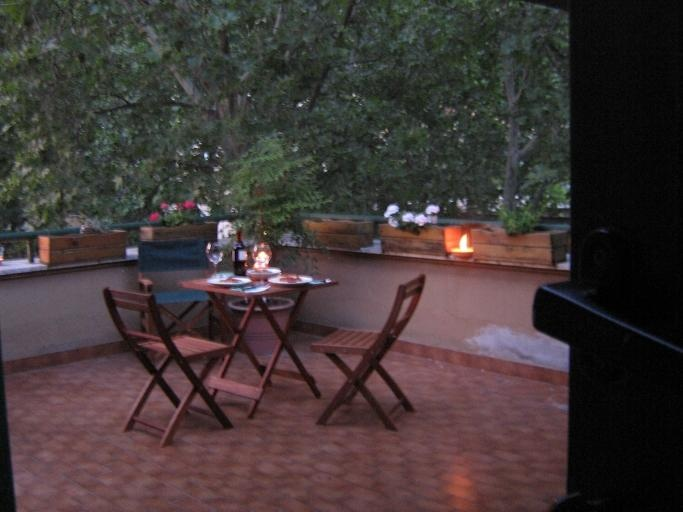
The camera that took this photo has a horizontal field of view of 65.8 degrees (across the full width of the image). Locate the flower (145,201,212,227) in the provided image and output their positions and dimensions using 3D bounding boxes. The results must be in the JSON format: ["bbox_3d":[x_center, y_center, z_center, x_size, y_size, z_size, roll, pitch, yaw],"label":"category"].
[{"bbox_3d":[-1.788,-0.448,5.708,0.616,0.268,0.429,-7,-2,43],"label":"flower"}]

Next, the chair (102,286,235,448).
[{"bbox_3d":[-1.043,0.639,3.215,0.709,0.880,0.555,2,1,-41],"label":"chair"}]

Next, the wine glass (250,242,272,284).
[{"bbox_3d":[-0.532,0.048,3.975,0.275,0.296,0.267,2,1,-7],"label":"wine glass"}]

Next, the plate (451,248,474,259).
[{"bbox_3d":[1.003,-0.013,4.454,0.191,0.077,0.113,2,7,19],"label":"plate"}]

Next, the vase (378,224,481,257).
[{"bbox_3d":[0.751,-0.140,4.641,0.875,0.265,0.249,1,7,11],"label":"vase"}]

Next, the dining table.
[{"bbox_3d":[-0.605,0.554,3.984,0.945,1.034,1.092,1,0,40],"label":"dining table"}]

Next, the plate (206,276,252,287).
[{"bbox_3d":[-0.746,0.179,3.543,0.268,0.054,0.243,-3,7,-23],"label":"plate"}]

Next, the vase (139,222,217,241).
[{"bbox_3d":[-1.586,-0.231,5.228,0.738,0.180,0.299,-3,7,-23],"label":"vase"}]

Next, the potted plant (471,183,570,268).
[{"bbox_3d":[1.381,-0.339,4.140,0.894,0.609,0.485,5,11,39],"label":"potted plant"}]

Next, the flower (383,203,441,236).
[{"bbox_3d":[0.603,-0.376,4.613,0.382,0.188,0.290,6,9,35],"label":"flower"}]

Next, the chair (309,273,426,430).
[{"bbox_3d":[0.171,0.617,3.460,0.665,0.866,0.589,1,4,29],"label":"chair"}]

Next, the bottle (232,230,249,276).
[{"bbox_3d":[-0.754,-0.034,3.930,0.092,0.331,0.326,-2,7,-12],"label":"bottle"}]

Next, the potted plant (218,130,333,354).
[{"bbox_3d":[-0.607,-0.396,4.735,1.324,1.878,1.174,-5,20,-15],"label":"potted plant"}]
